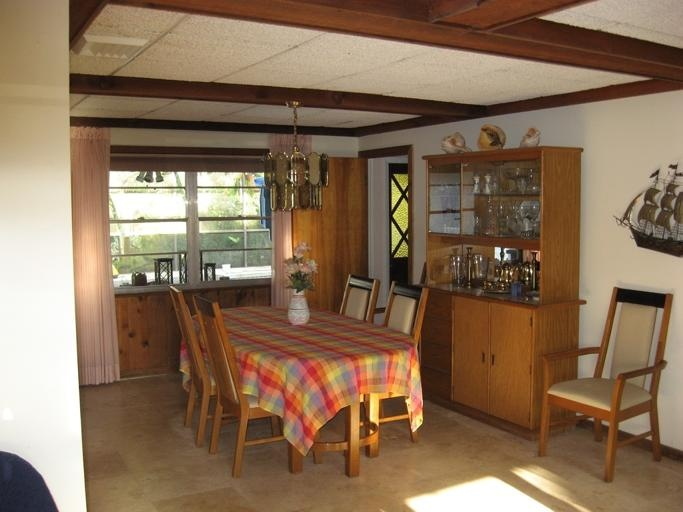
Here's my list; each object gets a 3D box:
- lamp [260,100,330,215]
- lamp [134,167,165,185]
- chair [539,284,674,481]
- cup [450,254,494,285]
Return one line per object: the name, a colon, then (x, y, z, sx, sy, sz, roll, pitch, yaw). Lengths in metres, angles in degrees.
lamp: (-0.410, -0.714, 4.762, 0.570, 0.579, 0.218, -2, 8, -5)
lamp: (-2.488, -1.009, 6.725, 0.344, 0.151, 0.089, -3, 8, -20)
chair: (2.176, 0.965, 4.251, 1.016, 1.340, 0.744, -7, 10, -39)
cup: (1.381, 0.155, 5.514, 0.391, 0.272, 0.293, 0, 1, 41)
